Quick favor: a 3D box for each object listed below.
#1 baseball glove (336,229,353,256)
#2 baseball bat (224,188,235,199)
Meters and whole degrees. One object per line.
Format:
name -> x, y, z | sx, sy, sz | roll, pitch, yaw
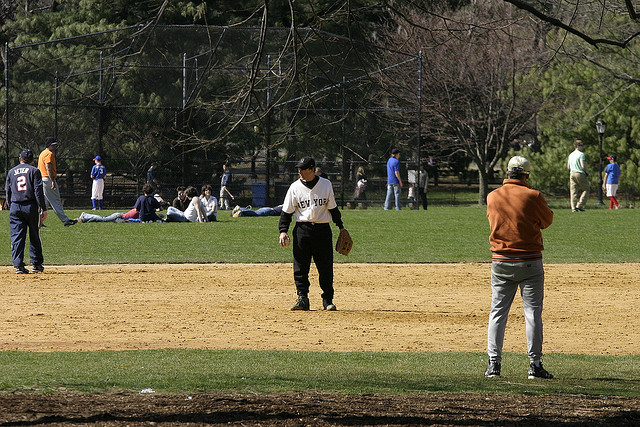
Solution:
baseball glove -> 0.682, 0.793, 41.958 | 0.219, 0.612, 0.466 | -2, 1, -33
baseball bat -> -3.463, -0.792, 59.767 | 0.111, 0.104, 0.605 | 12, -23, 27
